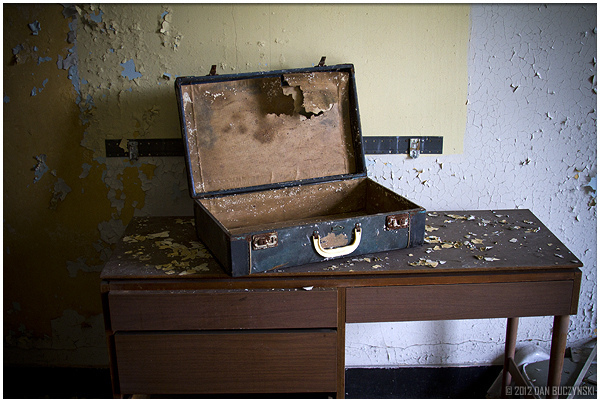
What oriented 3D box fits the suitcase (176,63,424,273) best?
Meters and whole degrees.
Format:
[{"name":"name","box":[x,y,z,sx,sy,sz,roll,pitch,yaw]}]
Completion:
[{"name":"suitcase","box":[-0.001,-0.215,2.448,1.062,0.812,0.903,-5,21,-15]}]

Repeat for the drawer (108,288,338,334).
[{"name":"drawer","box":[-0.659,0.577,2.566,0.701,0.165,0.765,1,-15,-13]}]
